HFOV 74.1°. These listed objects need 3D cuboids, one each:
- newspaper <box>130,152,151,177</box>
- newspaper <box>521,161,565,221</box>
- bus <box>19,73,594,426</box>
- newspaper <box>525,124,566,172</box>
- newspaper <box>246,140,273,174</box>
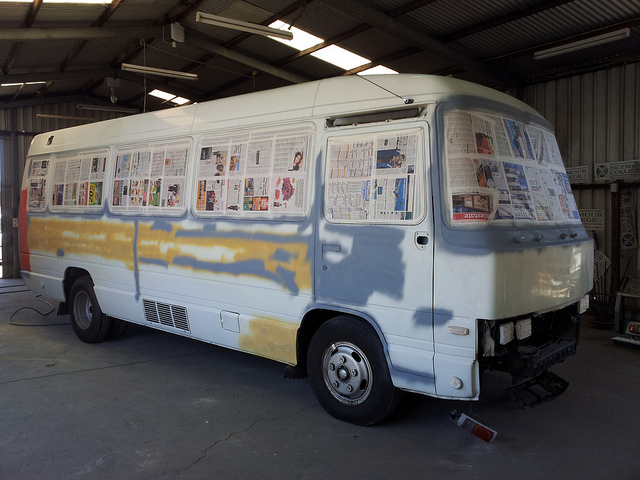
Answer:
[{"bbox_3d":[-2.645,-1.125,6.296,0.394,0.393,0.008,3,1,34],"label":"newspaper"},{"bbox_3d":[2.346,-0.510,4.495,0.031,0.476,0.692,-21,-7,39],"label":"newspaper"},{"bbox_3d":[-1.087,-0.108,7.202,8.836,3.716,3.885,2,2,40],"label":"bus"},{"bbox_3d":[2.512,-1.041,4.773,0.801,0.472,0.054,3,-7,-33],"label":"newspaper"},{"bbox_3d":[-0.709,-0.987,5.071,0.440,0.454,0.050,1,-1,40],"label":"newspaper"}]
